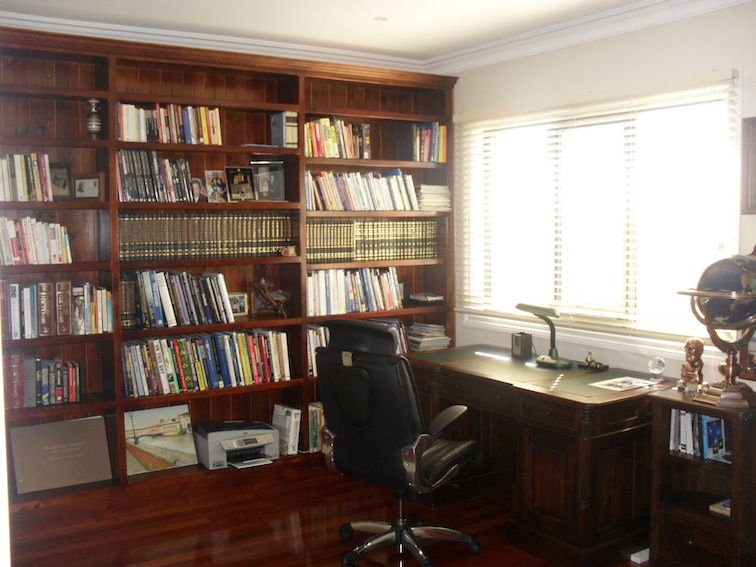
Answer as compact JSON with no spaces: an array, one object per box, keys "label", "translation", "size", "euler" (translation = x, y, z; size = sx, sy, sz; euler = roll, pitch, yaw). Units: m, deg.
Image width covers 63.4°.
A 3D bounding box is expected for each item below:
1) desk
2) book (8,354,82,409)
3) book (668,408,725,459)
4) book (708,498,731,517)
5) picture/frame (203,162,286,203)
[{"label":"desk","translation":[1.234,0.612,3.983],"size":[0.992,0.848,1.878],"euler":[-5,6,-38]},{"label":"book","translation":[-2.293,0.646,4.195],"size":[0.443,0.366,0.178],"euler":[-5,11,-30]},{"label":"book","translation":[1.799,0.776,3.478],"size":[0.255,0.310,0.343],"euler":[2,8,35]},{"label":"book","translation":[1.849,1.186,3.279],"size":[0.105,0.023,0.103],"euler":[-8,9,-44]},{"label":"picture/frame","translation":[-0.973,-0.777,4.761],"size":[0.579,0.349,0.126],"euler":[-2,2,-30]}]
